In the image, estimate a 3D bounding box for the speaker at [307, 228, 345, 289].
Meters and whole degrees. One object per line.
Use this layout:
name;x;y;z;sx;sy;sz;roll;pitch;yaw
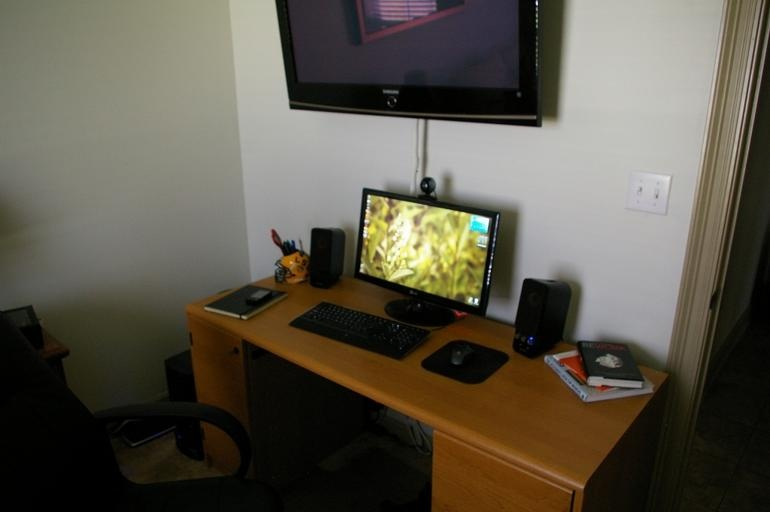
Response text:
speaker;-0.291;-0.001;2.813;0.148;0.269;0.153;8;16;13

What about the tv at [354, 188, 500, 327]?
tv;0.170;0.009;2.510;0.729;0.572;0.258;14;19;36

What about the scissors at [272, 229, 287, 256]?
scissors;-0.580;-0.081;3.060;0.021;0.184;0.053;-14;40;10

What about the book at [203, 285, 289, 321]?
book;-0.688;0.244;2.610;0.266;0.048;0.289;8;3;-8

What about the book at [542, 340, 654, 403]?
book;0.744;0.463;2.125;0.203;0.035;0.208;-8;26;-15

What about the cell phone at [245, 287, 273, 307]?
cell phone;-0.587;0.195;2.604;0.054;0.023;0.098;8;22;23

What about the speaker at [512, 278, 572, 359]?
speaker;0.652;0.244;2.306;0.173;0.305;0.151;-4;18;-39
